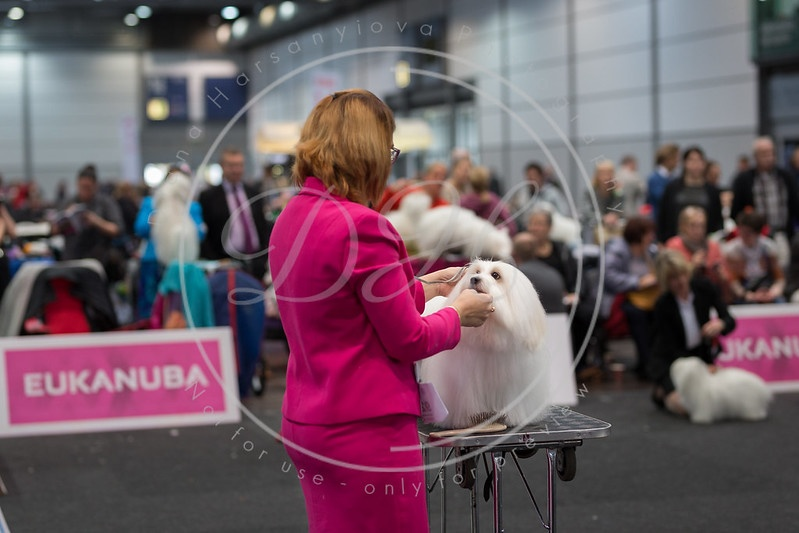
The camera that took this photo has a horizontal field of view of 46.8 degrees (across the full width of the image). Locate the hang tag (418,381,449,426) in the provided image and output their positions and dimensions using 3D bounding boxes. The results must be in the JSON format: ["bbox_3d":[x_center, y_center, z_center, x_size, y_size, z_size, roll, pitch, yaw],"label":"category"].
[{"bbox_3d":[0.169,0.718,4.922,0.242,0.119,0.365,-8,-22,4],"label":"hang tag"}]

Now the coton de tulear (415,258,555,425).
[{"bbox_3d":[0.488,0.453,5.472,0.618,0.954,0.887,-3,-1,-23],"label":"coton de tulear"}]

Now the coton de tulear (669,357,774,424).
[{"bbox_3d":[2.266,0.895,6.545,0.281,0.331,0.471,-13,-2,-33],"label":"coton de tulear"}]

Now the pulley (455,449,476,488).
[{"bbox_3d":[0.364,1.158,5.300,0.084,0.188,0.097,-3,11,-44],"label":"pulley"}]
